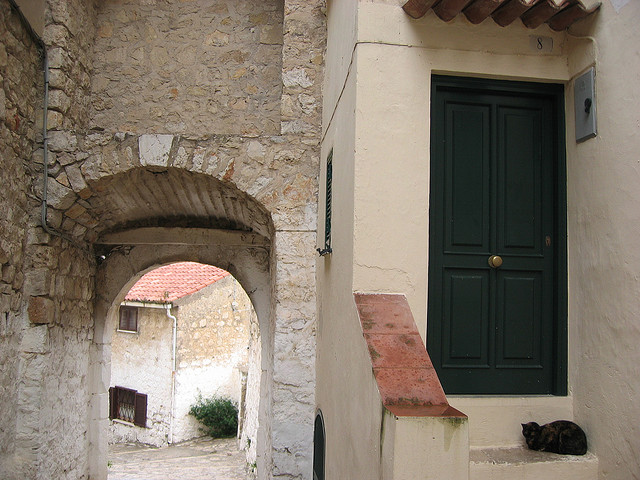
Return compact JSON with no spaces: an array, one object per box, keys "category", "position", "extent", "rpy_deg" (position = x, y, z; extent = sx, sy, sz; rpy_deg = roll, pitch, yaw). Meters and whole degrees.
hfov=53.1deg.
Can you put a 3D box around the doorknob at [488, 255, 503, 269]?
[{"category":"doorknob","position":[1.161,0.143,4.223],"extent":[0.109,0.136,0.063],"rpy_deg":[0,-4,5]}]

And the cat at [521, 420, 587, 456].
[{"category":"cat","position":[1.473,1.228,3.987],"extent":[0.289,0.175,0.191],"rpy_deg":[1,-23,13]}]
